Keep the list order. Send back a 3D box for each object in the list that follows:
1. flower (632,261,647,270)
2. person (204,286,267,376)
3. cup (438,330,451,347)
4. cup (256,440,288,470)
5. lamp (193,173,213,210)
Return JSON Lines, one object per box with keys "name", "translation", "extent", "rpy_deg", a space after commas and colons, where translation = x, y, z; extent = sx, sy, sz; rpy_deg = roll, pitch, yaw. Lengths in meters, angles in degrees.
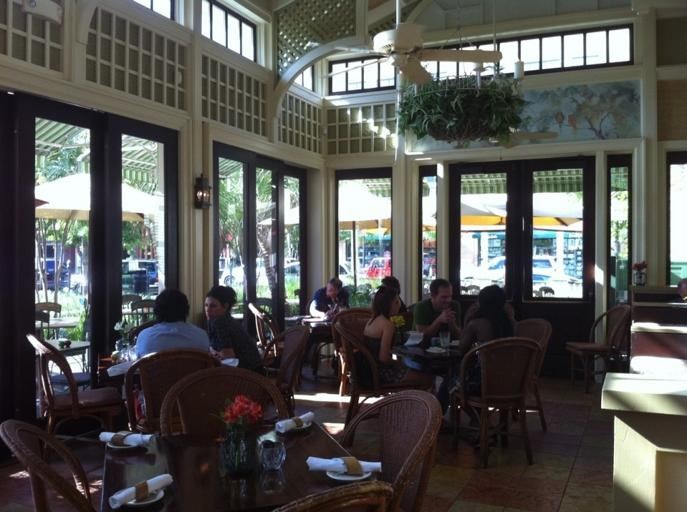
{"name": "flower", "translation": [3.604, 0.124, 7.026], "extent": [0.117, 0.074, 0.118], "rpy_deg": [2, -5, -27]}
{"name": "person", "translation": [-0.922, 0.855, 5.020], "extent": [0.393, 1.225, 0.386], "rpy_deg": [-3, 15, -7]}
{"name": "cup", "translation": [0.919, 0.750, 5.247], "extent": [0.101, 0.173, 0.108], "rpy_deg": [-1, 0, 0]}
{"name": "cup", "translation": [-0.321, 0.899, 2.701], "extent": [0.118, 0.158, 0.123], "rpy_deg": [-2, -2, 0]}
{"name": "lamp", "translation": [-1.548, -0.708, 6.390], "extent": [0.114, 0.379, 0.197], "rpy_deg": [1, 3, 22]}
